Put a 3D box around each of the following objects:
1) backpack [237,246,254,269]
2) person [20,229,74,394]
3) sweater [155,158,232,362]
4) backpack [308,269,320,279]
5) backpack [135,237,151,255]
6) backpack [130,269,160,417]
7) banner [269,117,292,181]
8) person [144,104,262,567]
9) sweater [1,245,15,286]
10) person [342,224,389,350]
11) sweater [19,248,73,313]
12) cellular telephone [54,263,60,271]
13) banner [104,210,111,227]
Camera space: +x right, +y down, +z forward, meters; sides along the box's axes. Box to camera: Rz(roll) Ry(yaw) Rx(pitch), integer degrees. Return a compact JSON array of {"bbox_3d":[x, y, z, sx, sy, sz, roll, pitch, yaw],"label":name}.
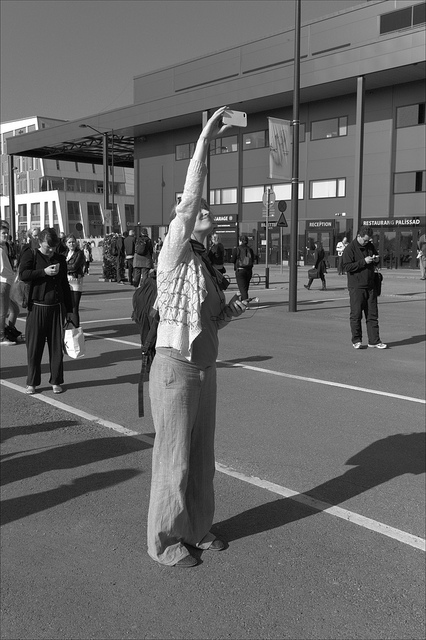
[{"bbox_3d":[0.806,-1.647,14.333,0.390,0.770,0.342,2,-13,-6],"label":"backpack"},{"bbox_3d":[-1.876,-0.113,6.322,0.555,1.845,0.414,-3,7,-19],"label":"person"},{"bbox_3d":[-0.150,-0.269,2.460,0.241,0.885,0.268,0,7,2],"label":"sweater"},{"bbox_3d":[3.701,-1.860,20.497,0.393,0.424,0.254,3,9,20],"label":"backpack"},{"bbox_3d":[-2.158,-2.305,17.223,0.295,0.551,0.480,3,9,14],"label":"backpack"},{"bbox_3d":[-0.339,0.145,2.793,0.128,0.815,0.543,-1,8,-8],"label":"backpack"},{"bbox_3d":[1.878,-4.852,15.567,0.677,2.255,0.089,5,-26,-6],"label":"banner"},{"bbox_3d":[-0.099,0.106,2.527,0.436,2.097,0.305,-3,7,-17],"label":"person"},{"bbox_3d":[-3.667,-1.007,9.964,0.222,0.690,0.298,-3,8,-22],"label":"sweater"},{"bbox_3d":[2.487,-0.545,9.291,0.689,2.059,0.718,2,8,20],"label":"person"},{"bbox_3d":[-1.871,-0.462,6.332,0.511,0.846,0.393,8,-22,-39],"label":"sweater"},{"bbox_3d":[-1.729,-0.612,6.166,0.043,0.065,0.041,0,2,-4],"label":"cellular telephone"},{"bbox_3d":[-6.249,-6.158,33.159,0.342,0.955,0.835,-2,8,-12],"label":"banner"}]
